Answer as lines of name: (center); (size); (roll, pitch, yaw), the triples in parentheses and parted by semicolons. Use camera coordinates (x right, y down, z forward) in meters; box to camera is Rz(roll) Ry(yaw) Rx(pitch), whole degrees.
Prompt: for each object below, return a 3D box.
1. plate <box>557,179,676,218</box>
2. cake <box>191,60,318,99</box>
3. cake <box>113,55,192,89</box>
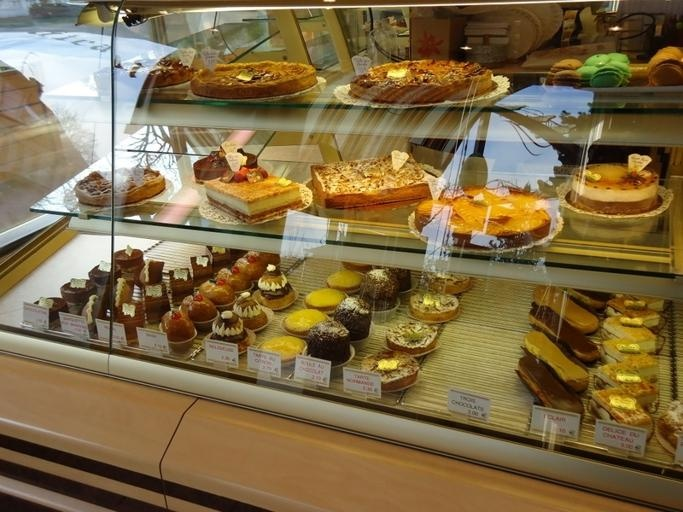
plate: (0.971, -0.193, 1.693); (0.420, 0.104, 0.179); (-6, 24, -6)
cake: (-0.331, -0.660, 1.861); (0.468, 0.129, 0.278); (-4, 23, -3)
cake: (-0.724, -0.712, 1.934); (0.231, 0.067, 0.201); (-16, 30, -33)
